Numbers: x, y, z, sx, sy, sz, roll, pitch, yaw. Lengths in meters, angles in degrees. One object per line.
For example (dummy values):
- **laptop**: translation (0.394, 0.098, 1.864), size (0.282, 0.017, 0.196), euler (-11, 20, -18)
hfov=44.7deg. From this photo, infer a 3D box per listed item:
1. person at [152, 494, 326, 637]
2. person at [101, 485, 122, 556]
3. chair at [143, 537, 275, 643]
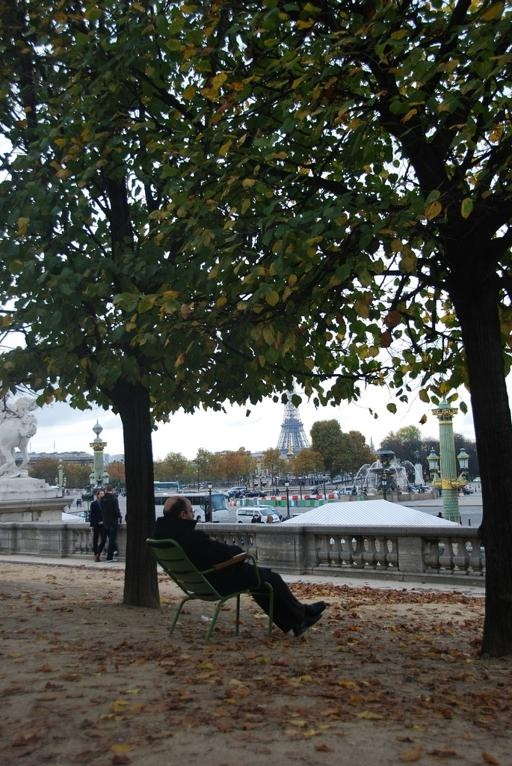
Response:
- **person**: translation (-0.100, 1.720, 5.853), size (1.518, 1.580, 0.768), euler (-10, -9, -36)
- **person**: translation (-3.597, 3.438, 15.322), size (0.479, 1.797, 1.556), euler (1, -12, -13)
- **chair**: translation (-0.417, 1.883, 5.847), size (0.846, 0.876, 1.139), euler (-11, -12, 44)
